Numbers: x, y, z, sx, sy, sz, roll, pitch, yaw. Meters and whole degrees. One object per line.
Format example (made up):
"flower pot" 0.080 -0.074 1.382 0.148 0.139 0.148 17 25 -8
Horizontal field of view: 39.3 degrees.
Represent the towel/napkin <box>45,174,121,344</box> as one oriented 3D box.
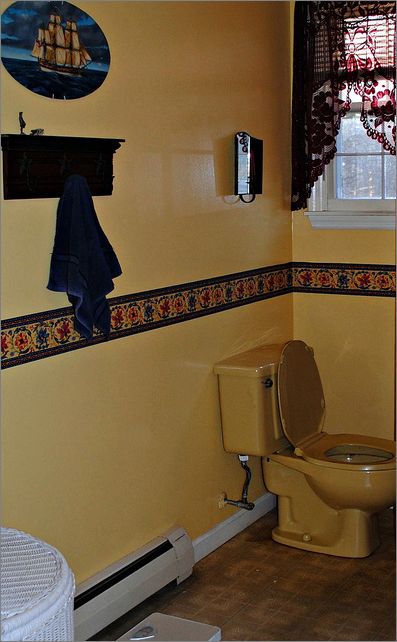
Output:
"towel/napkin" -0.338 -0.181 1.655 0.153 0.474 0.286 -1 2 22
